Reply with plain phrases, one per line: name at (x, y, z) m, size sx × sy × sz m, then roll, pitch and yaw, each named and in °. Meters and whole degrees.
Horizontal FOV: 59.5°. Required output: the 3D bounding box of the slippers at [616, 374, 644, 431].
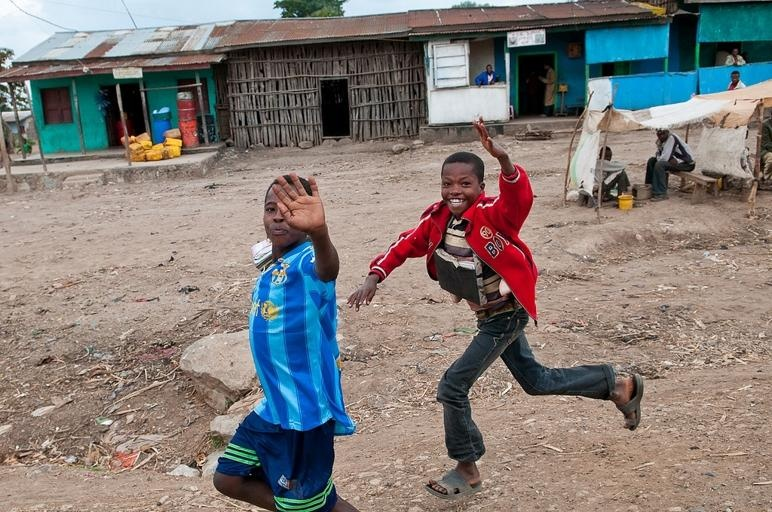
slippers at (2.074, 1.241, 5.705) m, size 0.209 × 0.492 × 0.195 m, roll -9°, pitch 9°, yaw -14°

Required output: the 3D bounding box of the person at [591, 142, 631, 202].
person at (4.151, -1.569, 12.607) m, size 0.776 × 0.929 × 0.556 m, roll -14°, pitch 22°, yaw -6°

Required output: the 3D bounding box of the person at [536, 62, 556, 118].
person at (5.454, -5.546, 22.627) m, size 0.520 × 1.675 × 1.135 m, roll -1°, pitch 15°, yaw 13°

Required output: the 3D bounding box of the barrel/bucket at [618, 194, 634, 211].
barrel/bucket at (4.395, -0.952, 12.311) m, size 0.332 × 0.226 × 0.305 m, roll -4°, pitch 13°, yaw 1°

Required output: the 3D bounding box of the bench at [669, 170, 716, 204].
bench at (5.913, -1.308, 12.813) m, size 0.729 × 0.513 × 1.105 m, roll 3°, pitch 14°, yaw 24°

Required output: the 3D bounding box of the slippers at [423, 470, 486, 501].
slippers at (0.539, 1.851, 5.417) m, size 0.421 × 0.153 × 0.204 m, roll 1°, pitch 4°, yaw -6°
